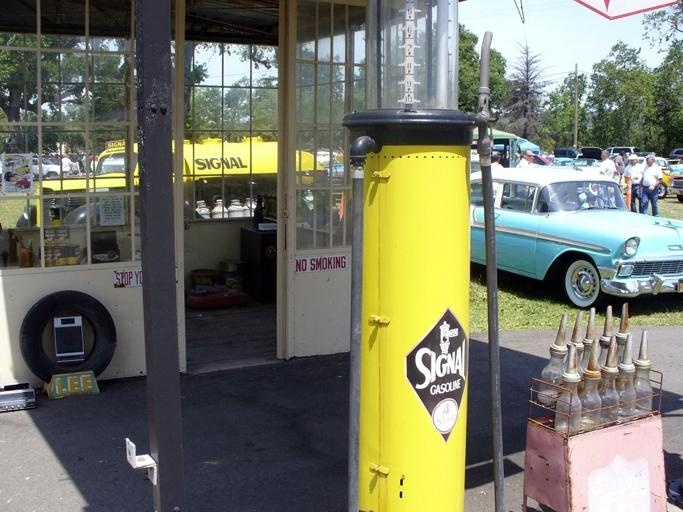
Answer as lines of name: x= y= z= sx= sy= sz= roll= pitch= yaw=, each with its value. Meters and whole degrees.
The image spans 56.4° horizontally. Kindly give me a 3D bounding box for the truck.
truck: x=-1.664 y=-0.656 z=7.330 sx=3.589 sy=1.608 sz=1.396 roll=-5 pitch=7 yaw=-27
